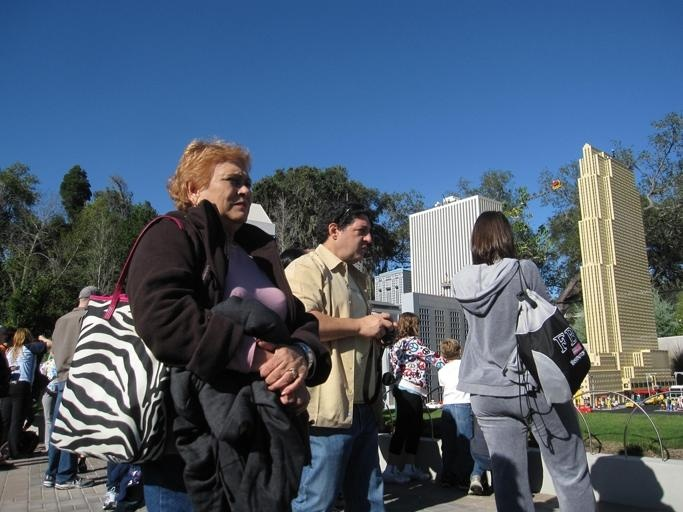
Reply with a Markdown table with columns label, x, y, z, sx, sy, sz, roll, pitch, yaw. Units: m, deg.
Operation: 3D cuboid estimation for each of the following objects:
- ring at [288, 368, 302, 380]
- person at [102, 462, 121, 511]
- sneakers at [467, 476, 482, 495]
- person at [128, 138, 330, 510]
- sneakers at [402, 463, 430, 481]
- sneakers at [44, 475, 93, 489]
| label | x | y | z | sx | sy | sz | roll | pitch | yaw |
| --- | --- | --- | --- | --- | --- | --- | --- | --- | --- |
| ring | -0.175 | 0.441 | 1.680 | 0.044 | 0.032 | 0.044 | -4 | -37 | -3 |
| person | -2.651 | 2.647 | 5.129 | 0.149 | 0.595 | 0.918 | 2 | -12 | -28 |
| sneakers | 1.677 | 2.851 | 5.562 | 0.105 | 0.141 | 0.297 | -1 | -40 | 13 |
| person | -0.473 | 0.036 | 1.914 | 0.813 | 1.315 | 0.584 | 2 | -10 | -29 |
| sneakers | 1.061 | 3.143 | 6.463 | 0.488 | 0.257 | 0.185 | 7 | -13 | -18 |
| sneakers | -3.900 | 3.207 | 6.323 | 0.556 | 0.253 | 0.198 | 4 | -11 | -17 |
